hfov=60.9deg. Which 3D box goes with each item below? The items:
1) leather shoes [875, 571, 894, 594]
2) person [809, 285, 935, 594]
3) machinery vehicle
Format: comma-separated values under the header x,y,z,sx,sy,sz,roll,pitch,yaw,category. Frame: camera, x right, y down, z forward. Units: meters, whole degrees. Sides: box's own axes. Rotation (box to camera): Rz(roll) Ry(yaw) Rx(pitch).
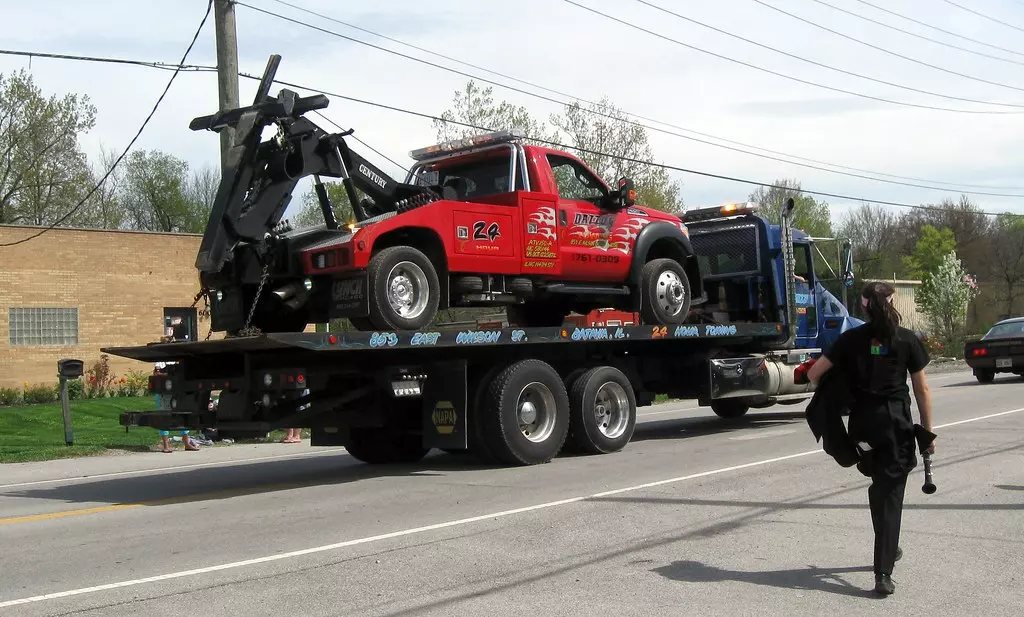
x,y,z,sx,sy,sz,roll,pitch,yaw,category
3.714,2.763,8.737,0.100,0.128,0.294,-3,-1,27,leather shoes
3.753,1.295,9.153,1.196,3.114,0.830,-1,3,20,person
-0.912,-1.221,15.554,8.184,2.900,3.106,-2,1,-38,machinery vehicle
